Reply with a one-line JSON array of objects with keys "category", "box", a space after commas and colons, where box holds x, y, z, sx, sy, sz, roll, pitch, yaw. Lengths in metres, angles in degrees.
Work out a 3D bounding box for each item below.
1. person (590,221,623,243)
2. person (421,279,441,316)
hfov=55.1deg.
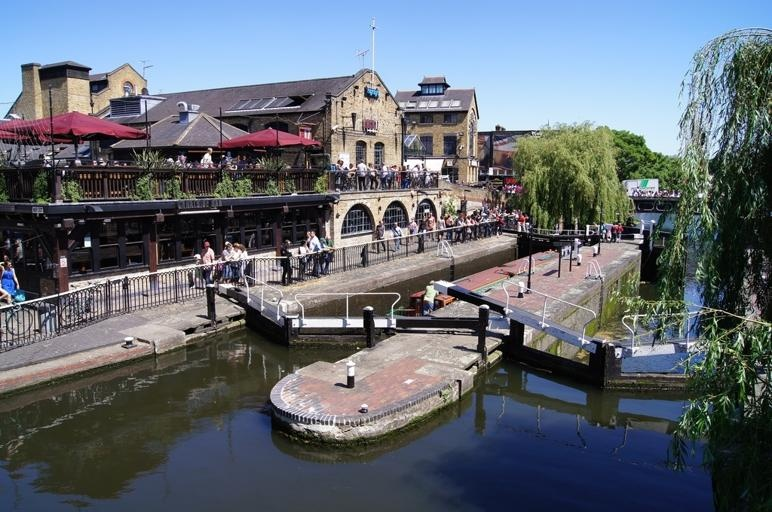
[{"category": "person", "box": [12.352, -1.371, 41.740, 0.761, 1.105, 3.998, 6, 10, 35]}, {"category": "person", "box": [1.562, 1.492, 26.666, 0.543, 1.346, 1.698, -1, 7, 3]}]
